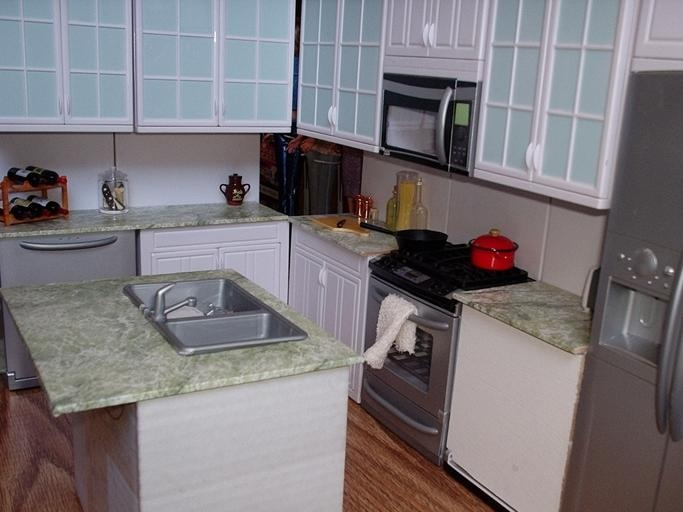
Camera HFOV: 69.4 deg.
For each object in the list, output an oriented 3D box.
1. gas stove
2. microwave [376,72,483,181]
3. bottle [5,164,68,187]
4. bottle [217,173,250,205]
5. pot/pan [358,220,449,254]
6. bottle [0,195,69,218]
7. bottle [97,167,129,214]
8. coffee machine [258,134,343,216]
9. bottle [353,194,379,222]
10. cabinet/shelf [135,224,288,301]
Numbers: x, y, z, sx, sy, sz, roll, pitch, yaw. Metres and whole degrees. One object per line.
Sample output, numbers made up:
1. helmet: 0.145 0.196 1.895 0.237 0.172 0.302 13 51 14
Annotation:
1. gas stove: 0.674 0.098 3.131 0.667 0.231 0.804 -9 16 -30
2. microwave: 0.559 -0.844 3.101 0.424 0.461 0.686 -9 24 -29
3. bottle: -2.289 -0.589 3.641 0.401 0.142 0.207 4 15 16
4. bottle: -0.974 -0.607 4.495 0.293 0.272 0.187 -6 11 -24
5. pot/pan: 0.444 -0.133 3.383 0.243 0.076 0.459 -12 18 -41
6. bottle: -2.254 -0.357 3.597 0.179 0.158 0.390 6 15 23
7. bottle: -1.873 -0.536 4.042 0.225 0.359 0.237 2 10 0
8. coffee machine: -0.334 -0.718 4.369 0.523 0.878 0.265 18 25 29
9. bottle: 0.183 -0.398 4.127 0.268 0.266 0.159 4 10 19
10. cabinet/shelf: -0.965 0.010 3.520 0.618 0.527 0.219 -4 12 -24
